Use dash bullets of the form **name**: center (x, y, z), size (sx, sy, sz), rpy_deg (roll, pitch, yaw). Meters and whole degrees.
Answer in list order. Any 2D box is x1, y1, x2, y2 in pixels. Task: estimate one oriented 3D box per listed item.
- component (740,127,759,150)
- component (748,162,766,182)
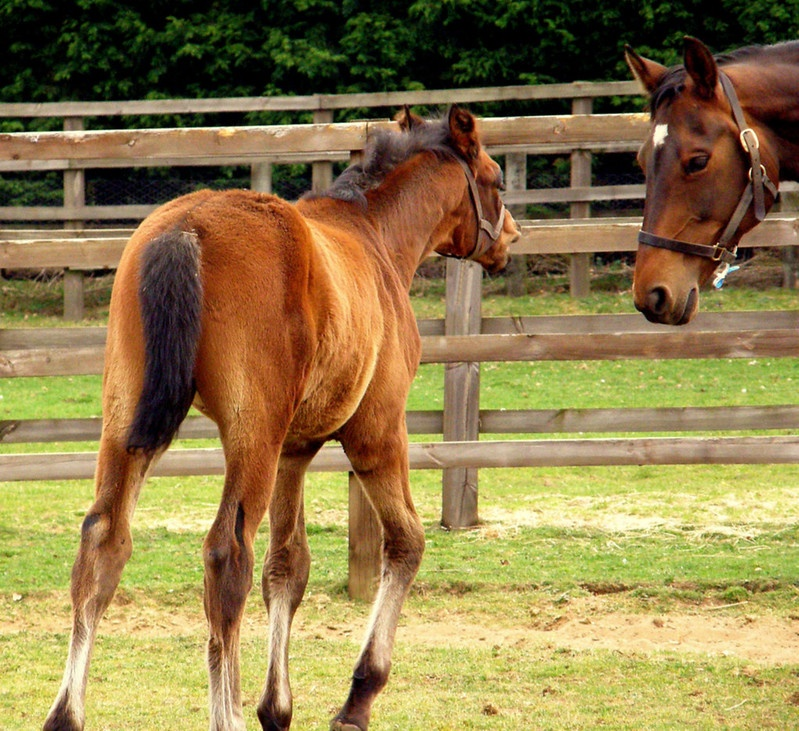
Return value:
- **component**: center (2.813, -1.791, 16.177), size (0.152, 0.184, 0.075), rpy_deg (2, 6, 9)
- **component**: center (2.875, -1.527, 16.176), size (0.120, 0.127, 0.041), rpy_deg (15, 4, -10)
